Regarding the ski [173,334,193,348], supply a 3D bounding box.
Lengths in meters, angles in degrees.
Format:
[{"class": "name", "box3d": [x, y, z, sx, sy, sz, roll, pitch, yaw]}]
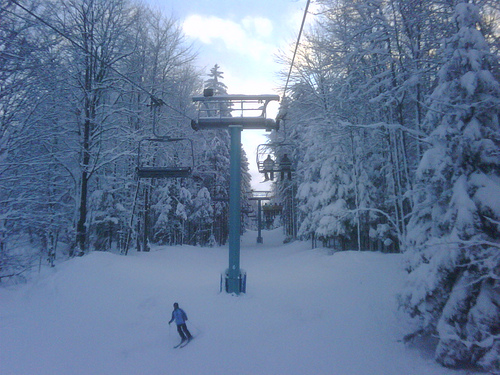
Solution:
[{"class": "ski", "box3d": [-2.375, 5.524, 17.882, 0.229, 0.306, 1.020, 7, 12, 32]}]

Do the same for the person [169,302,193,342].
[{"class": "person", "box3d": [-2.495, 4.870, 18.124, 0.829, 1.394, 1.019, -2, -2, -9]}]

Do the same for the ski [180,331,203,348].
[{"class": "ski", "box3d": [-2.090, 5.495, 18.070, 0.194, 0.075, 1.392, 5, 4, 25]}]
